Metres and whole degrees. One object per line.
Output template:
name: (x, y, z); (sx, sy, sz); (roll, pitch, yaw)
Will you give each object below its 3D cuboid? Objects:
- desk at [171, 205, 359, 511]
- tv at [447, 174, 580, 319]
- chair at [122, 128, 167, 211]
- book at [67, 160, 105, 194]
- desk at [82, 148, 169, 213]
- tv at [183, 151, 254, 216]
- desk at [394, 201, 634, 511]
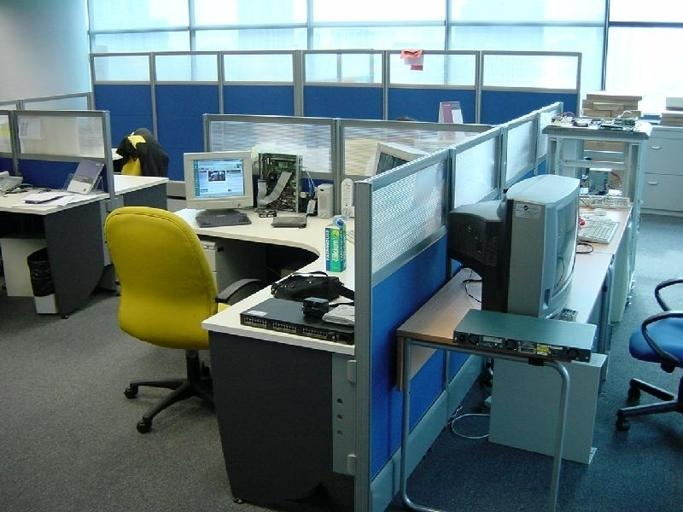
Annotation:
desk: (-0.406, 0.576, 2.564); (0.956, 0.527, 0.928); (4, 33, 9)
tv: (0.744, -0.025, 2.661); (0.579, 0.534, 0.639); (7, 20, 27)
chair: (-1.810, -0.829, 5.236); (0.445, 0.602, 0.526); (-4, 16, -34)
book: (-1.957, -0.591, 4.480); (0.281, 0.275, 0.075); (13, -12, 29)
desk: (-1.787, -0.602, 4.796); (0.433, 0.250, 0.403); (7, 17, 21)
tv: (-0.794, -0.496, 4.046); (0.641, 0.558, 0.359); (-2, 9, -12)
desk: (0.751, 0.502, 2.629); (0.560, 0.619, 1.326); (4, 18, 20)
